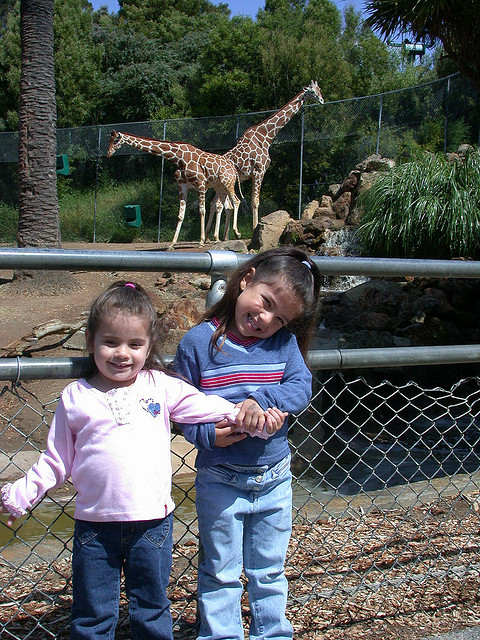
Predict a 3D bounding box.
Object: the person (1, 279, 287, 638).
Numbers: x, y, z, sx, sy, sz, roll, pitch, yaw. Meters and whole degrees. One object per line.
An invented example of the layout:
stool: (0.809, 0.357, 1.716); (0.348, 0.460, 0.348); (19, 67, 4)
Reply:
person: (-0.340, 0.386, 1.990); (0.634, 0.982, 0.286); (0, 5, -17)

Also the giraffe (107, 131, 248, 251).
giraffe: (-1.101, -2.439, 13.335); (2.818, 2.054, 0.731); (-3, 7, -24)
